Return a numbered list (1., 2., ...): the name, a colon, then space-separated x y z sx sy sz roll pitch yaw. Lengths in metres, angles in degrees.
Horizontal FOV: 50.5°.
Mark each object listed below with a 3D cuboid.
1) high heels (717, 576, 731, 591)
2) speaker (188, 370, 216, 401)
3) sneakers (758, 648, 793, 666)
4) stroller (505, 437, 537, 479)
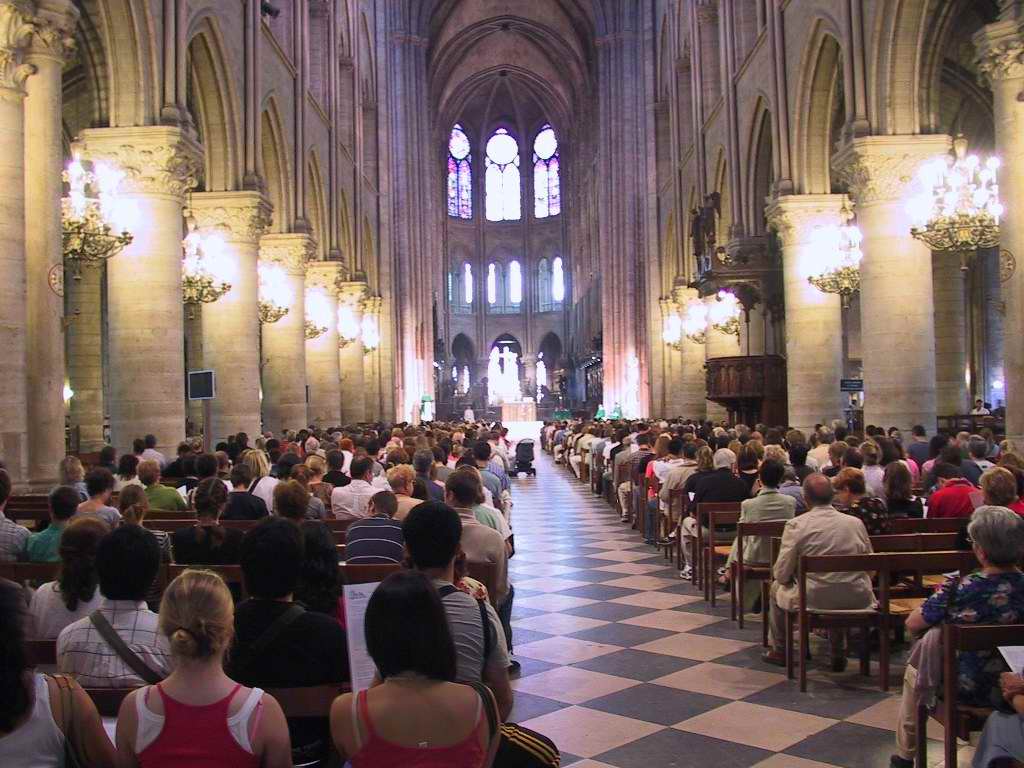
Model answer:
1. high heels: 2.540 2.393 13.059 0.147 0.185 0.480 2 1 9
2. speaker: -5.267 0.008 18.494 0.404 0.478 0.545 0 -2 -20
3. sneakers: 2.454 2.539 10.133 0.248 0.076 0.345 1 -2 13
4. stroller: 0.298 2.027 29.901 0.981 1.252 0.969 0 -2 -4
